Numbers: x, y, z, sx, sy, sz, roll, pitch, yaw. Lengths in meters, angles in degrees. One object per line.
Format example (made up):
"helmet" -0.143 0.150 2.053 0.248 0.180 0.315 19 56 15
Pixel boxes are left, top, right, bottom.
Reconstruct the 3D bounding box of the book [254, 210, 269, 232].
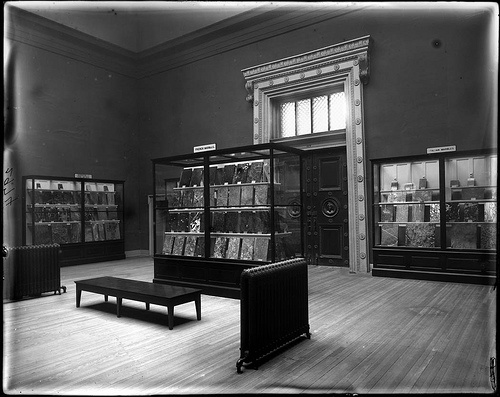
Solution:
"book" 0.202 0.417 6.404 0.073 0.376 0.338 -2 1 -44

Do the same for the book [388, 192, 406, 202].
"book" 3.107 -0.016 8.056 0.323 0.316 0.177 3 3 35

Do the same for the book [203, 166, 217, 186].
"book" -0.741 -0.409 7.043 0.283 0.563 0.053 -3 -8 27

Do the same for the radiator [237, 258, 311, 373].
"radiator" 0.284 1.355 4.247 0.196 0.810 0.915 0 1 41

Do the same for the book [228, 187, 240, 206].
"book" -0.275 -0.021 6.760 0.285 0.427 0.043 -2 -4 35

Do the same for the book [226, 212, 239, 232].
"book" -0.310 0.439 6.765 0.285 0.359 0.074 -1 1 42

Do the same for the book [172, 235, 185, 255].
"book" -1.371 0.919 7.329 0.329 0.497 0.050 -1 -5 36

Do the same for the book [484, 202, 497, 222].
"book" 4.472 0.264 7.084 0.171 0.368 0.189 0 1 40

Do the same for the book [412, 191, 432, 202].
"book" 3.523 -0.039 7.775 0.333 0.327 0.184 0 0 32

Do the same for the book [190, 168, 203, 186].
"book" -1.026 -0.397 7.315 0.295 0.395 0.048 -3 -5 36

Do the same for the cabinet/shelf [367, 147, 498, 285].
"cabinet/shelf" 3.637 0.414 7.429 2.344 2.517 0.778 -2 -4 38

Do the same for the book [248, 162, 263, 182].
"book" 0.105 -0.447 6.623 0.288 0.456 0.045 -5 -11 36

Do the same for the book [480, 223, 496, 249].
"book" 4.372 0.714 6.981 0.222 0.456 0.173 0 1 44

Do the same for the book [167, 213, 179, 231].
"book" -1.495 0.467 7.426 0.306 0.471 0.044 0 0 35

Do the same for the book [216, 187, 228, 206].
"book" -0.497 -0.013 6.883 0.280 0.431 0.041 -2 -4 35

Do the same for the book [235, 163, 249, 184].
"book" -0.140 -0.431 6.782 0.321 0.492 0.045 -2 -9 37

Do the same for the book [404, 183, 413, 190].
"book" 3.331 -0.242 7.962 0.122 0.141 0.123 1 2 27

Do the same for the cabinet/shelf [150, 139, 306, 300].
"cabinet/shelf" -0.548 0.470 7.346 2.593 2.689 0.974 -1 0 26

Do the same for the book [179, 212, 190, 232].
"book" -1.254 0.473 7.290 0.321 0.502 0.051 -1 -1 33

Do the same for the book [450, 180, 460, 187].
"book" 4.029 -0.285 7.476 0.128 0.146 0.129 -1 -3 28

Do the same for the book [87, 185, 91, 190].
"book" -4.681 -0.299 11.007 0.064 0.145 0.135 -1 -1 23

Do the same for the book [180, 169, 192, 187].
"book" -1.261 -0.412 7.533 0.292 0.344 0.296 5 6 18

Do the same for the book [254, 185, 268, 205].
"book" 0.194 -0.043 6.449 0.287 0.378 0.046 -1 -2 39

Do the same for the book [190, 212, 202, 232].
"book" -1.020 0.463 7.160 0.309 0.483 0.046 -2 -6 35

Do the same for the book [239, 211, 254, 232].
"book" -0.050 0.417 6.590 0.297 0.467 0.044 -3 -4 37

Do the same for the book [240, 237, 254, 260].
"book" -0.040 0.879 6.505 0.332 0.519 0.046 -3 -7 37

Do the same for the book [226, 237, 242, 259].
"book" -0.272 0.892 6.655 0.315 0.498 0.045 -3 -9 37

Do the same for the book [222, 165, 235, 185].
"book" -0.388 -0.414 6.923 0.295 0.582 0.051 -3 -7 34

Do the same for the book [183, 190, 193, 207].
"book" -1.198 0.020 7.306 0.280 0.434 0.040 -1 -2 35

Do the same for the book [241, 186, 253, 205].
"book" -0.046 -0.029 6.622 0.280 0.423 0.041 -2 -3 36

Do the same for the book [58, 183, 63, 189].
"book" -5.196 -0.312 10.430 0.039 0.171 0.150 0 1 36

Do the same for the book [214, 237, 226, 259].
"book" -0.542 0.889 6.823 0.262 0.358 0.086 -1 1 33

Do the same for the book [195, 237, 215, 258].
"book" -0.815 0.914 6.972 0.330 0.328 0.114 -2 -3 36
